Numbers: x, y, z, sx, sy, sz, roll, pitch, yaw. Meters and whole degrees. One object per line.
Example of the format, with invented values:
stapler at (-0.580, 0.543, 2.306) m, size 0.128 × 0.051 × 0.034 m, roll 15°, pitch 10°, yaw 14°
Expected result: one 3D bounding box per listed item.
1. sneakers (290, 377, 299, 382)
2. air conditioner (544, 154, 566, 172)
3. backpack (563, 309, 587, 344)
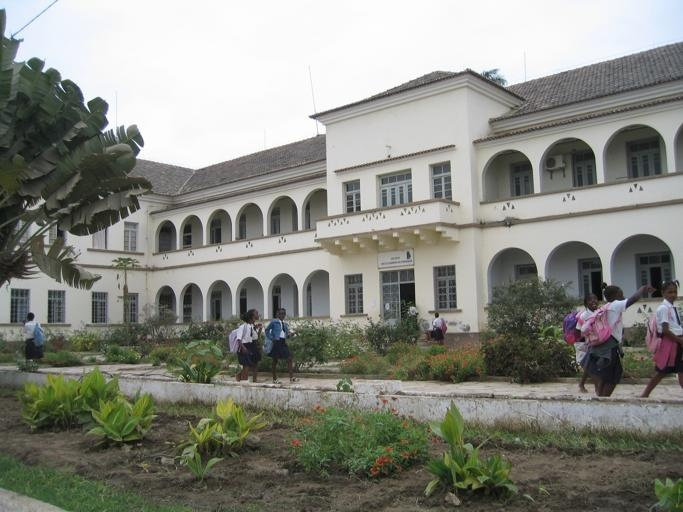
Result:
sneakers at (-1.280, 3.399, 16.631) m, size 0.160 × 0.136 × 0.296 m, roll 2°, pitch -14°, yaw -27°
air conditioner at (8.790, -3.891, 25.132) m, size 0.841 × 0.655 × 0.330 m, roll -3°, pitch 0°, yaw 22°
backpack at (4.340, 1.329, 11.417) m, size 0.443 × 0.799 × 0.522 m, roll 3°, pitch -2°, yaw 25°
